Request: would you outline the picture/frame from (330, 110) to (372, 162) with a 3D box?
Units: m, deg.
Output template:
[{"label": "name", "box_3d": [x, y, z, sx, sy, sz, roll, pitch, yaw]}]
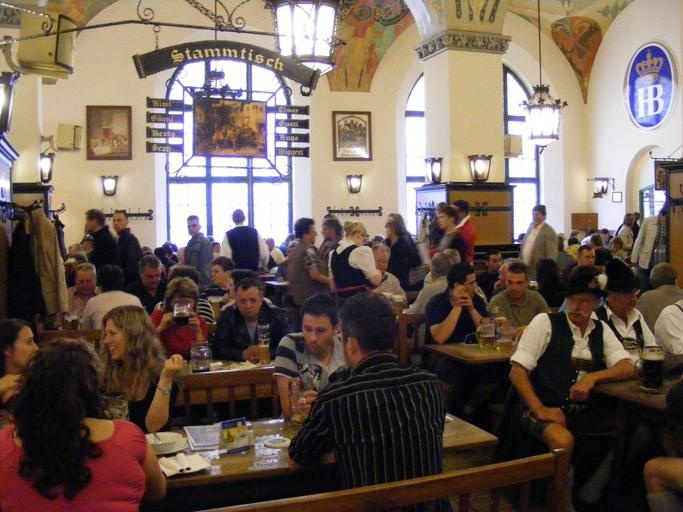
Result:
[{"label": "picture/frame", "box_3d": [0.164, -2.715, 13.824, 1.102, 1.295, 0.053, 0, -1, -20]}]

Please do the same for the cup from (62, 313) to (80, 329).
[{"label": "cup", "box_3d": [-2.372, 0.570, 5.396, 0.089, 0.164, 0.090, -3, -41, -3]}]

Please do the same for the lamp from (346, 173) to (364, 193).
[{"label": "lamp", "box_3d": [0.267, -1.616, 13.852, 0.390, 0.422, 0.359, 0, -3, -6]}]

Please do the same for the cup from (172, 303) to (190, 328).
[{"label": "cup", "box_3d": [-1.078, 0.407, 4.156, 0.129, 0.143, 0.111, -1, -1, 20]}]

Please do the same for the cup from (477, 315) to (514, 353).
[{"label": "cup", "box_3d": [1.156, 0.594, 4.692, 0.243, 0.219, 0.288, 1, -4, -5]}]

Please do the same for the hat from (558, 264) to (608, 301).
[{"label": "hat", "box_3d": [1.508, 0.161, 3.899, 0.194, 0.093, 0.225, -4, 5, 2]}]

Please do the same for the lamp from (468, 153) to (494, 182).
[{"label": "lamp", "box_3d": [2.007, -1.263, 9.048, 0.382, 0.467, 0.343, 0, -2, -11]}]

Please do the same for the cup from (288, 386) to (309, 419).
[{"label": "cup", "box_3d": [-0.224, 0.769, 3.252, 0.115, 0.190, 0.111, 1, 3, 0]}]

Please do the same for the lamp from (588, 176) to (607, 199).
[{"label": "lamp", "box_3d": [6.295, -1.666, 15.131, 0.220, 0.528, 0.545, -1, 3, -9]}]

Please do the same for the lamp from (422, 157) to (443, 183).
[{"label": "lamp", "box_3d": [1.367, -1.245, 9.289, 0.373, 0.481, 0.340, -1, -4, 9]}]
